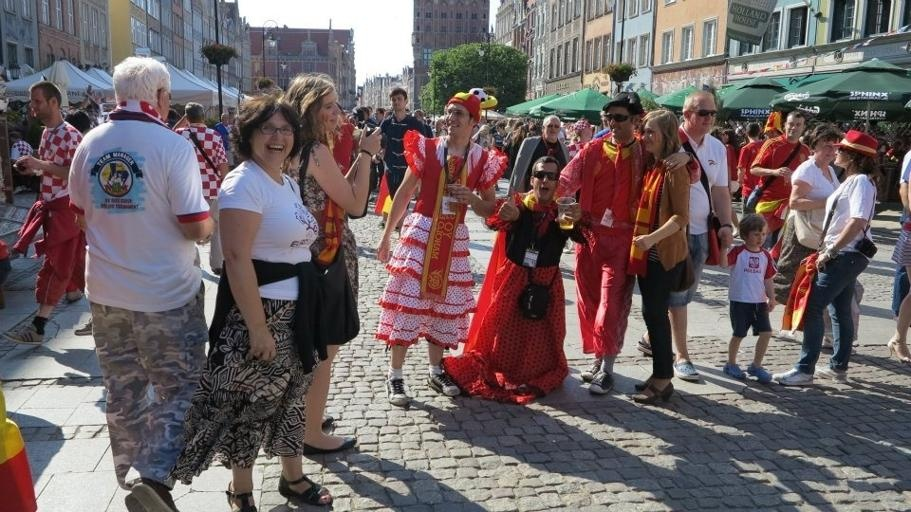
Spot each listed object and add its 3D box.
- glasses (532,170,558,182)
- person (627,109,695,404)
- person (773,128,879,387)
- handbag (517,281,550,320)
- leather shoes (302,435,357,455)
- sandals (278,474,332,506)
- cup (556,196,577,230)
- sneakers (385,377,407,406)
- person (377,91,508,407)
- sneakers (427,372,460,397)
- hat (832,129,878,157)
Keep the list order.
[{"bbox_3d":[0.951,-0.836,7.082,0.242,0.095,0.096,1,12,6],"label":"glasses"},{"bbox_3d":[2.088,0.009,6.956,0.562,2.941,0.674,4,12,19],"label":"person"},{"bbox_3d":[4.144,0.015,7.380,0.637,2.696,1.035,11,16,43],"label":"person"},{"bbox_3d":[0.841,0.461,7.173,0.338,0.390,0.176,1,12,6],"label":"handbag"},{"bbox_3d":[-1.159,1.692,6.262,0.473,0.183,0.157,-4,3,-19],"label":"leather shoes"},{"bbox_3d":[-1.253,1.948,5.708,0.418,0.170,0.212,7,9,1],"label":"sandals"},{"bbox_3d":[1.126,-0.465,7.112,0.289,0.317,0.278,2,20,-1],"label":"cup"},{"bbox_3d":[-0.589,1.369,6.935,0.208,0.235,0.267,-2,12,-8],"label":"sneakers"},{"bbox_3d":[-0.184,-0.102,6.985,1.284,3.079,0.781,-2,12,-9],"label":"person"},{"bbox_3d":[-0.127,1.333,7.145,0.148,0.145,0.372,-12,14,-38],"label":"sneakers"},{"bbox_3d":[4.383,-1.214,7.379,0.368,0.142,0.303,27,19,14],"label":"hat"}]
